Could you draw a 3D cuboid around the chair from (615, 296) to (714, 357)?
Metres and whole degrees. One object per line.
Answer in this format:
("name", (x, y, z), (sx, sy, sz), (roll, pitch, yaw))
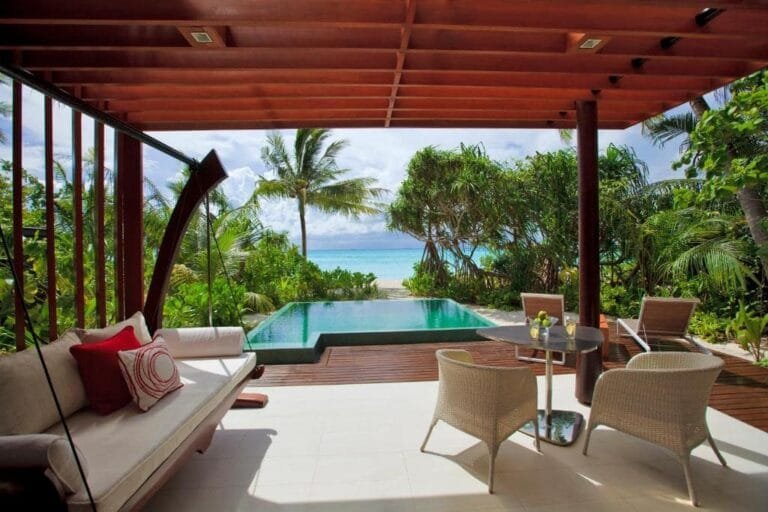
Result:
("chair", (3.734, 0.879, 6.466), (0.696, 0.702, 1.276), (2, -1, 11))

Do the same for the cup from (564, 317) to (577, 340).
("cup", (1.924, 0.729, 4.964), (0.097, 0.210, 0.425), (-2, -2, 21))

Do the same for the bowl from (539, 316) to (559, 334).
("bowl", (1.686, 0.706, 5.040), (0.225, 0.142, 0.220), (-1, -4, 0))

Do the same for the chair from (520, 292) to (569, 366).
("chair", (2.263, 1.037, 6.966), (0.686, 0.721, 0.872), (-5, -35, 19))

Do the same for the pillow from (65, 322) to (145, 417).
("pillow", (-2.518, 1.048, 4.557), (0.361, 0.621, 0.728), (0, 7, 11))

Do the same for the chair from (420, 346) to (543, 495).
("chair", (0.964, 1.406, 4.703), (0.794, 0.991, 0.930), (-8, 9, -40))

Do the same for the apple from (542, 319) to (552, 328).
("apple", (1.678, 0.681, 4.953), (0.090, 0.083, 0.089), (-7, 3, 38))

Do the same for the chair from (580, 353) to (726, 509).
("chair", (2.431, 1.427, 4.660), (1.110, 1.304, 1.295), (0, -1, -41))

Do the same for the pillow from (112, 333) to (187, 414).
("pillow", (-2.180, 1.084, 4.571), (0.313, 0.530, 0.606), (7, 10, 9))

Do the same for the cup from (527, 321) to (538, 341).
("cup", (1.535, 0.767, 4.983), (0.145, 0.224, 0.145), (-1, -2, 0))
